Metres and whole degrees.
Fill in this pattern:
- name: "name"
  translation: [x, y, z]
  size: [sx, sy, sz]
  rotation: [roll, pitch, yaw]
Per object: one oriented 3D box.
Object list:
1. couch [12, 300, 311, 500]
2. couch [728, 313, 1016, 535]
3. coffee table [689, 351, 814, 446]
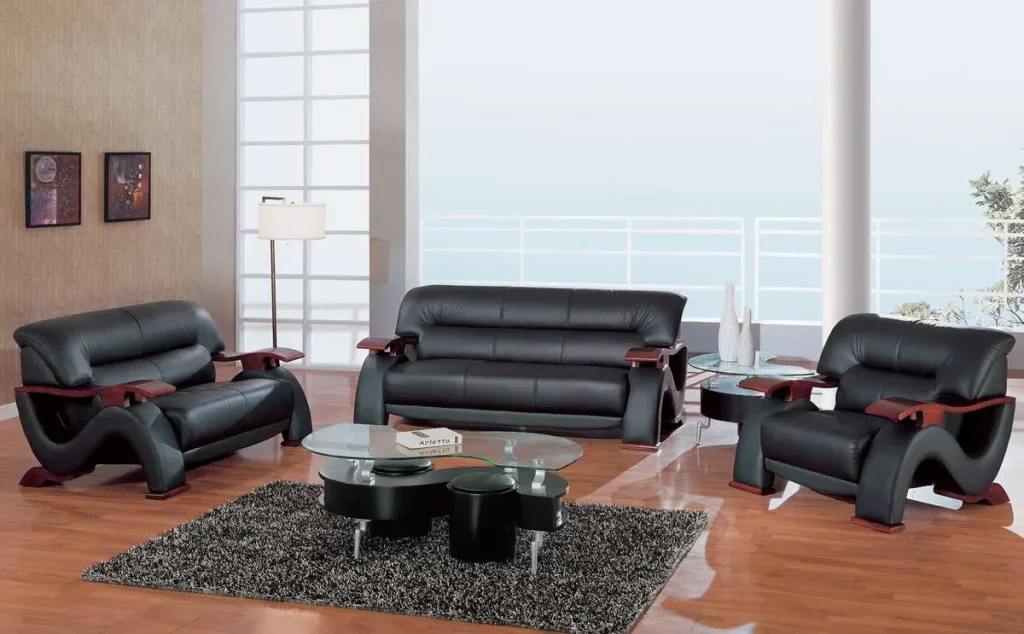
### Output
- name: "couch"
  translation: [-2.655, 0.541, 5.671]
  size: [1.826, 1.137, 2.195]
  rotation: [1, 4, 24]
- name: "couch"
  translation: [2.643, 0.747, 5.395]
  size: [1.714, 1.231, 1.773]
  rotation: [-3, 4, -36]
- name: "coffee table"
  translation: [1.972, 0.668, 6.118]
  size: [1.016, 0.496, 0.923]
  rotation: [0, 2, 22]
